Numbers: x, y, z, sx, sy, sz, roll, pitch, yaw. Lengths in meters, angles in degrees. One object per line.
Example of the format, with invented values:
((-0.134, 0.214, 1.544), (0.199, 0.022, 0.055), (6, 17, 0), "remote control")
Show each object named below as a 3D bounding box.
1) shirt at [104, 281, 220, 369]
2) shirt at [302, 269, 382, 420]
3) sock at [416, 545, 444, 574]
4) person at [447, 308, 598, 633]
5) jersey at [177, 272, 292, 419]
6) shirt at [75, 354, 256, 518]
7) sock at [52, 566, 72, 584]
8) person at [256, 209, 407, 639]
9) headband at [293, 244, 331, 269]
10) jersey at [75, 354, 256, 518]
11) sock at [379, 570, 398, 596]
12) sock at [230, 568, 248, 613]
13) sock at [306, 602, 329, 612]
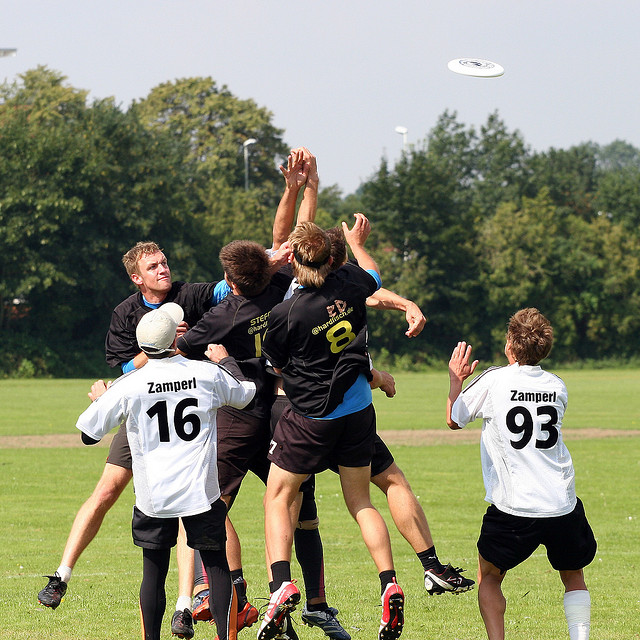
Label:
((-1.714, 0.098, 17.909), (1.205, 0.812, 0.413), (-26, -39, 10), "shirt")
((0.200, 0.282, 16.849), (0.940, 1.780, 1.344), (3, -8, -2), "shirt")
((1.195, 2.564, 17.062), (0.284, 0.275, 0.153), (1, -2, 3), "sock")
((2.147, 1.570, 16.691), (1.505, 3.309, 0.545), (1, -2, 9), "person")
((-0.856, 0.354, 16.917), (1.141, 1.880, 0.619), (-10, 44, -23), "jersey")
((-1.580, 1.299, 17.123), (1.991, 1.680, 0.722), (-5, 17, -4), "shirt")
((-2.747, 2.714, 17.023), (0.137, 0.185, 0.182), (1, -3, -15), "sock")
((0.099, 1.169, 16.949), (1.413, 4.267, 0.913), (1, -2, -3), "person")
((-0.085, -0.614, 16.807), (0.385, 0.234, 0.119), (1, -2, -3), "headband")
((-1.576, 1.191, 16.610), (1.895, 1.649, 0.691), (-7, 16, -8), "jersey")
((0.711, 2.733, 16.651), (0.151, 0.238, 0.164), (1, -2, 1), "sock")
((-0.903, 2.852, 17.216), (0.207, 0.464, 0.486), (-7, -22, -6), "sock")
((-0.027, 3.121, 17.386), (0.267, 0.092, 0.114), (-2, -15, 5), "sock")
